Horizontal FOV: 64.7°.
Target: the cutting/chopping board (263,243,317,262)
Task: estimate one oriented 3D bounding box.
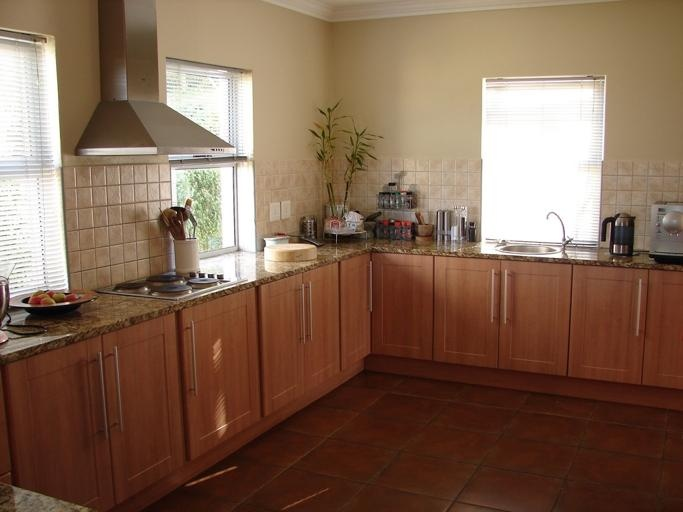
[{"bbox_3d":[-0.380,-0.027,4.138,0.370,0.111,0.285,-6,11,-30],"label":"cutting/chopping board"}]

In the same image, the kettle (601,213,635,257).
[{"bbox_3d":[2.205,-0.162,4.265,0.322,0.388,0.217,5,10,39],"label":"kettle"}]

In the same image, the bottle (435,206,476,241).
[{"bbox_3d":[1.048,-0.294,4.978,0.385,0.338,0.262,2,6,12],"label":"bottle"}]

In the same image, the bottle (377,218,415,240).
[{"bbox_3d":[0.498,-0.253,5.163,0.362,0.174,0.126,2,10,13],"label":"bottle"}]

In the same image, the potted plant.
[{"bbox_3d":[0.038,-0.993,5.317,0.686,1.087,0.309,-1,9,-2],"label":"potted plant"}]

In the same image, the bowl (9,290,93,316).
[{"bbox_3d":[-1.515,0.240,2.808,0.418,0.095,0.338,-5,11,-22],"label":"bowl"}]

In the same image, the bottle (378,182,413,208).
[{"bbox_3d":[0.540,-0.583,5.214,0.357,0.250,0.126,4,10,24],"label":"bottle"}]

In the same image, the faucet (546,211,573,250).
[{"bbox_3d":[1.888,-0.226,4.631,0.236,0.304,0.434,3,10,18],"label":"faucet"}]

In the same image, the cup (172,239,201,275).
[{"bbox_3d":[-1.038,0.002,3.612,0.201,0.226,0.213,0,12,0],"label":"cup"}]
